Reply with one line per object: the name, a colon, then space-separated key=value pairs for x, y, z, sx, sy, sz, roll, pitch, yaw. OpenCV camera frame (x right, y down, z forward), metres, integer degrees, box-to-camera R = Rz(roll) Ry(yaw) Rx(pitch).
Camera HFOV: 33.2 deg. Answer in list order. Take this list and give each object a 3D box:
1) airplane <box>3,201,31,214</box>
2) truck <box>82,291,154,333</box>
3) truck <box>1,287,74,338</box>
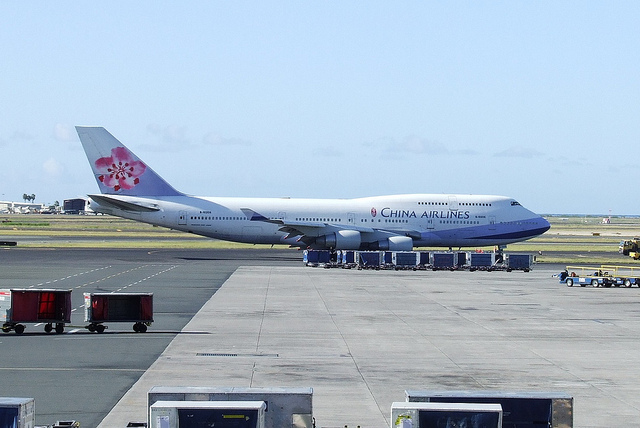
airplane: x=-99.231 y=-1.762 z=354.394 sx=7.299 sy=5.038 sz=25.262 roll=0 pitch=-5 yaw=-17
truck: x=-10.700 y=5.250 z=57.531 sx=3.528 sy=2.076 sz=0.868 roll=-2 pitch=-6 yaw=4
truck: x=-14.913 y=5.209 z=57.039 sx=3.549 sy=2.520 sz=1.787 roll=0 pitch=-6 yaw=-12
